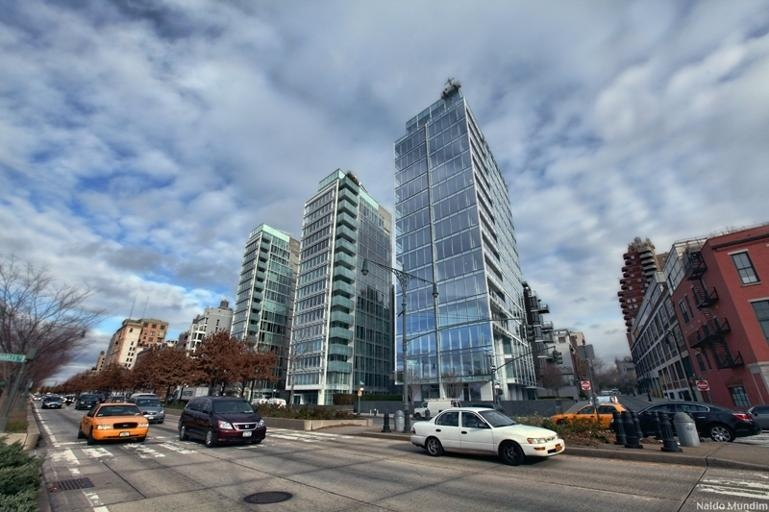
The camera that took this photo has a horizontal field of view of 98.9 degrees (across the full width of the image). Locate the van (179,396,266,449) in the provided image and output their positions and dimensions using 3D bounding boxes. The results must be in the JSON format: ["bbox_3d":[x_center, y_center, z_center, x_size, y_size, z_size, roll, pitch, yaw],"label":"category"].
[{"bbox_3d":[-8.109,7.958,15.973,5.069,2.088,1.925,-16,-30,34],"label":"van"}]

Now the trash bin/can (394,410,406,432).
[{"bbox_3d":[0.878,10.017,19.922,0.495,1.119,0.939,3,-25,-3],"label":"trash bin/can"}]

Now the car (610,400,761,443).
[{"bbox_3d":[14.643,7.897,15.740,4.588,1.662,1.747,-1,-25,4],"label":"car"}]
